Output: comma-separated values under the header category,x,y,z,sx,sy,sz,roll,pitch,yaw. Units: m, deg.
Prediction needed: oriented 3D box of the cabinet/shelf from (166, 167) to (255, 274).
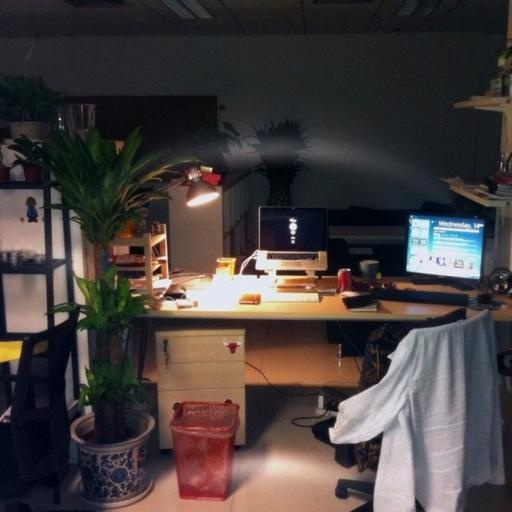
category,x,y,z,sx,sy,sz,roll,pitch,yaw
cabinet/shelf,-0.437,-0.290,5.009,0.386,0.732,1.292,-1,6,8

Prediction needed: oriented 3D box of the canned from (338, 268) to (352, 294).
category,x,y,z,sx,sy,sz,roll,pitch,yaw
canned,0.546,0.158,3.396,0.085,0.127,0.166,2,15,10

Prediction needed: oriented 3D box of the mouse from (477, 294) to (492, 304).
category,x,y,z,sx,sy,sz,roll,pitch,yaw
mouse,1.271,0.249,3.058,0.057,0.038,0.058,10,20,37

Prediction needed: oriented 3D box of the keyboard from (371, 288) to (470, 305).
category,x,y,z,sx,sy,sz,roll,pitch,yaw
keyboard,0.939,0.246,3.179,0.532,0.054,0.165,6,15,21

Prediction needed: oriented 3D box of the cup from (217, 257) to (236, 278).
category,x,y,z,sx,sy,sz,roll,pitch,yaw
cup,-0.200,0.090,3.501,0.139,0.131,0.116,1,7,-1

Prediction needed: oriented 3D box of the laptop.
category,x,y,z,sx,sy,sz,roll,pitch,yaw
laptop,0.238,-0.162,3.580,0.562,0.389,0.386,2,36,3

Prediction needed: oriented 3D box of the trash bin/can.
category,x,y,z,sx,sy,sz,roll,pitch,yaw
trash bin/can,-0.260,0.986,2.829,0.331,0.392,0.389,-1,15,-3

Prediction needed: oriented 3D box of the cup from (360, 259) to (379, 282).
category,x,y,z,sx,sy,sz,roll,pitch,yaw
cup,0.736,0.101,3.608,0.114,0.141,0.141,2,15,8

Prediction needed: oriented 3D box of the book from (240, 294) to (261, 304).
category,x,y,z,sx,sy,sz,roll,pitch,yaw
book,-0.038,0.262,3.116,0.121,0.030,0.107,0,14,1
